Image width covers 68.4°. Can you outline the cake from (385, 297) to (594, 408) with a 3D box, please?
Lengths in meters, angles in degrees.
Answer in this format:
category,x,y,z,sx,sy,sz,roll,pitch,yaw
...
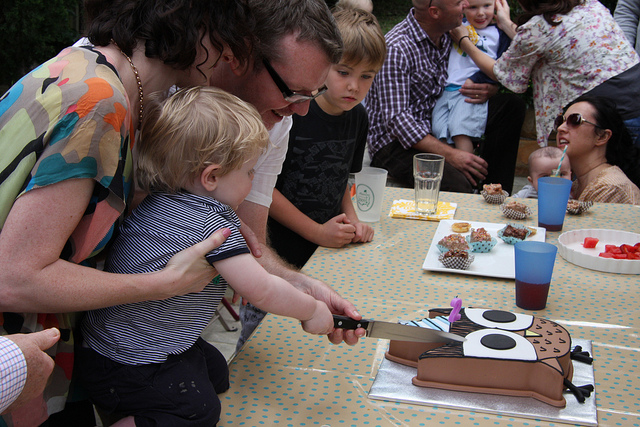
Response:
category,x,y,z,sx,sy,sz,roll,pitch,yaw
cake,0.469,0.397,1.367,0.455,0.113,0.304,4,24,15

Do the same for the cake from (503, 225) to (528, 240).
category,x,y,z,sx,sy,sz,roll,pitch,yaw
cake,0.866,0.083,2.101,0.063,0.022,0.065,14,34,24

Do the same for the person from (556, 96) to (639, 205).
category,x,y,z,sx,sy,sz,roll,pitch,yaw
person,1.912,-0.432,3.281,0.495,0.704,0.708,2,12,15

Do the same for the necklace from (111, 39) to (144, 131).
category,x,y,z,sx,sy,sz,roll,pitch,yaw
necklace,-0.547,-0.382,1.388,0.062,0.227,0.130,-18,39,-4

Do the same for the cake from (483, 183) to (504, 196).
category,x,y,z,sx,sy,sz,roll,pitch,yaw
cake,1.016,-0.143,2.791,0.159,0.087,0.227,3,4,22

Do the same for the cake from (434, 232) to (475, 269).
category,x,y,z,sx,sy,sz,roll,pitch,yaw
cake,0.555,0.151,1.957,0.126,0.120,0.145,-2,6,-5

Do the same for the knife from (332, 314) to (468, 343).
category,x,y,z,sx,sy,sz,roll,pitch,yaw
knife,0.204,0.357,1.442,0.056,0.066,0.492,30,-24,-35

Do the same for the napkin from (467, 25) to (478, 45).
category,x,y,z,sx,sy,sz,roll,pitch,yaw
napkin,1.425,-1.696,4.507,0.113,0.206,0.046,-8,-6,-21

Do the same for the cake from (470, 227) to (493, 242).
category,x,y,z,sx,sy,sz,roll,pitch,yaw
cake,0.704,0.088,2.052,0.066,0.032,0.069,0,22,-1

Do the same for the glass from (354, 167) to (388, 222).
category,x,y,z,sx,sy,sz,roll,pitch,yaw
glass,0.265,-0.085,2.439,0.180,0.258,0.175,8,10,25
